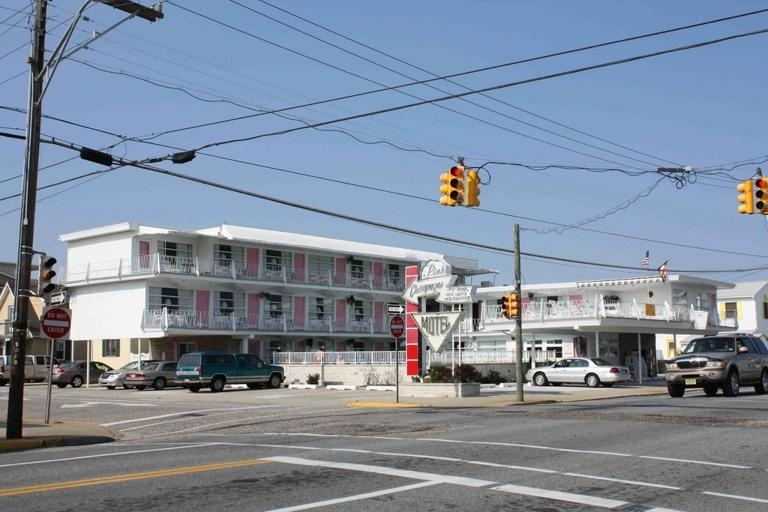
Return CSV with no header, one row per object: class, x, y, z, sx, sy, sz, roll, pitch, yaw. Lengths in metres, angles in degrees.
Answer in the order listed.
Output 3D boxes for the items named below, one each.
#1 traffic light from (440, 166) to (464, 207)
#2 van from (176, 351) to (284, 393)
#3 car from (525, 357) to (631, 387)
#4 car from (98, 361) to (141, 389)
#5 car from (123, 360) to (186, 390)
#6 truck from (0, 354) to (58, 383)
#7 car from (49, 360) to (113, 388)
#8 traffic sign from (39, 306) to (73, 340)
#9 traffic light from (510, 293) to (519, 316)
traffic light,2.302,-2.306,27.904,0.770,1.396,0.690,-2,-12,6
van,-8.518,6.237,45.923,4.835,1.480,2.612,1,-3,-45
car,10.658,6.409,46.255,5.154,1.323,1.993,-2,-5,34
car,-14.860,6.847,48.666,1.371,0.832,2.759,0,0,12
car,-12.747,6.739,47.498,1.692,0.966,3.611,-1,-1,35
truck,-21.841,6.895,51.556,2.348,2.132,5.943,1,-11,-8
car,-18.860,7.352,51.815,4.067,1.290,1.846,0,-3,-44
traffic sign,-10.111,2.018,25.966,0.431,0.977,1.072,-6,-12,21
traffic light,5.349,1.963,34.029,0.309,0.962,0.269,-5,-13,19
